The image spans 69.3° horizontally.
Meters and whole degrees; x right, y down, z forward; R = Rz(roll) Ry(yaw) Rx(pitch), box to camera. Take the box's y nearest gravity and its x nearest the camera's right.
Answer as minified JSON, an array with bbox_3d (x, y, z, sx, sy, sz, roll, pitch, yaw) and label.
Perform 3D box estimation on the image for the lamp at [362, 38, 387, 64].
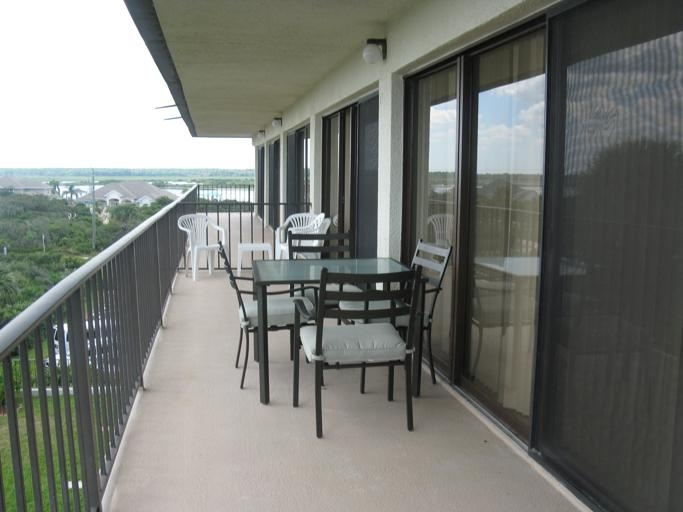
[{"bbox_3d":[0.304,-1.876,4.548,0.226,0.257,0.182,-5,13,-10],"label":"lamp"}]

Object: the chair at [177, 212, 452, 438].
[{"bbox_3d":[0.040,0.406,3.639,1.159,0.803,1.483,-2,10,-9],"label":"chair"}]
